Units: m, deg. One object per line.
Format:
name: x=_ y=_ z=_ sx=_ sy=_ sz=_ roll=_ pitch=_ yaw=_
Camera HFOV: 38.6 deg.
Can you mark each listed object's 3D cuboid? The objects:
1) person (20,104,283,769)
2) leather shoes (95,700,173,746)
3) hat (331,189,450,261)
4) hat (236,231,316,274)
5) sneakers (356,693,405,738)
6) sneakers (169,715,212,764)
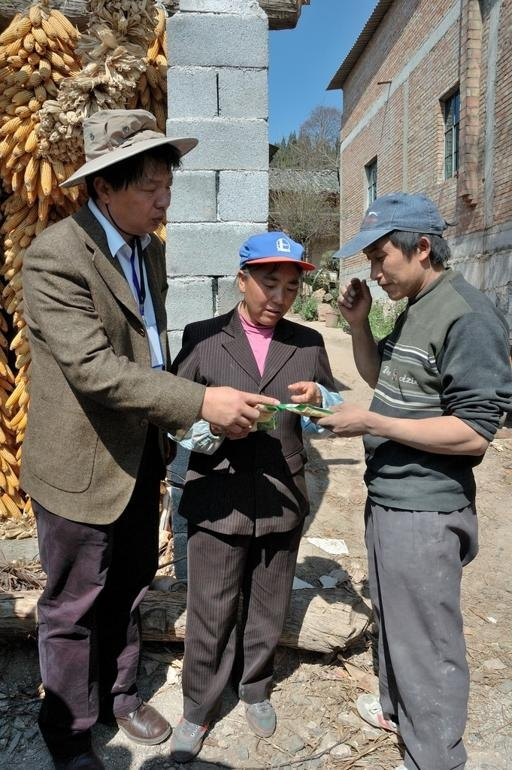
person: x=-0.548 y=0.240 z=2.823 sx=0.693 sy=2.529 sz=0.654 roll=0 pitch=5 yaw=-22
leather shoes: x=-0.544 y=1.420 z=3.102 sx=0.346 sy=0.134 sz=0.134 roll=3 pitch=9 yaw=23
hat: x=0.520 y=-0.625 z=2.789 sx=0.439 sy=0.207 sz=0.267 roll=-6 pitch=9 yaw=4
hat: x=0.044 y=-0.513 z=2.825 sx=0.177 sy=0.092 sz=0.215 roll=1 pitch=2 yaw=-36
sneakers: x=0.522 y=1.432 z=3.159 sx=0.084 sy=0.089 sz=0.234 roll=-27 pitch=44 yaw=-25
sneakers: x=-0.286 y=1.461 z=2.996 sx=0.086 sy=0.075 sz=0.195 roll=24 pitch=7 yaw=1
